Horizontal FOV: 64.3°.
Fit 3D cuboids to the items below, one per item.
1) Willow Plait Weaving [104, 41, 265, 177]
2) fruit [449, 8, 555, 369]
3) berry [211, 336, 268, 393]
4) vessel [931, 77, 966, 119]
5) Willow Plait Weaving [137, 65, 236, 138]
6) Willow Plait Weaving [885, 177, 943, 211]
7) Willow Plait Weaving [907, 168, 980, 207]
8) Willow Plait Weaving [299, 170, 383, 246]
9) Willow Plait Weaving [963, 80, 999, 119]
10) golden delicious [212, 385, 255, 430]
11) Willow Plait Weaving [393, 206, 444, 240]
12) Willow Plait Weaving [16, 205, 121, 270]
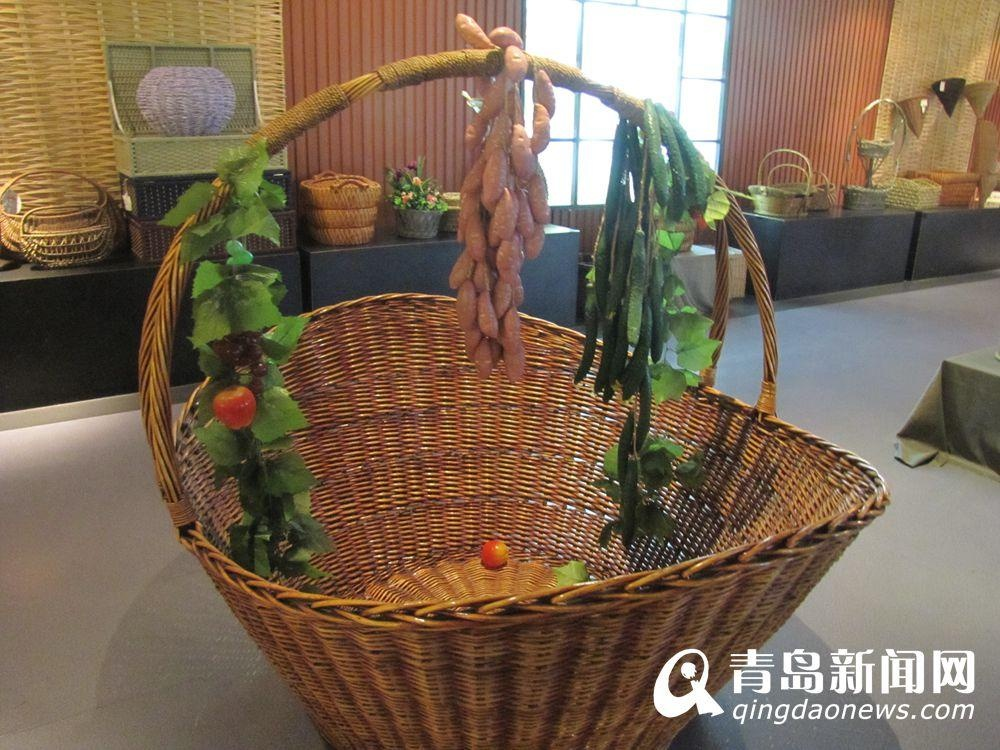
[{"bbox_3d":[-1.479,-1.193,3.538,0.419,0.566,0.733,29,33,32],"label":"Willow Plait Weaving"},{"bbox_3d":[0.002,-0.316,1.486,0.180,0.641,0.253,1,25,-1],"label":"fruit"},{"bbox_3d":[-0.479,-0.028,1.476,0.088,0.104,0.058,9,26,2],"label":"berry"},{"bbox_3d":[3.652,-2.253,6.619,0.318,0.290,0.306,-4,7,2],"label":"vessel"},{"bbox_3d":[-1.316,-1.124,3.296,0.424,0.286,0.410,-14,28,-39],"label":"Willow Plait Weaving"},{"bbox_3d":[3.069,-1.291,5.906,0.297,0.223,0.397,3,10,24],"label":"Willow Plait Weaving"},{"bbox_3d":[3.572,-1.444,6.422,0.472,0.275,0.453,-2,8,-5],"label":"Willow Plait Weaving"},{"bbox_3d":[-0.718,-0.771,3.821,0.380,0.264,0.352,-12,29,-30],"label":"Willow Plait Weaving"},{"bbox_3d":[3.926,-2.259,6.538,0.199,0.260,0.167,16,29,29],"label":"Willow Plait Weaving"},{"bbox_3d":[-0.480,0.059,1.497,0.078,0.073,0.076,1,32,8],"label":"golden delicious"},{"bbox_3d":[-0.396,-0.731,3.886,0.193,0.089,0.169,1,18,-8],"label":"Willow Plait Weaving"},{"bbox_3d":[-1.829,-0.646,3.377,0.418,0.200,0.519,-14,19,-25],"label":"Willow Plait Weaving"}]
